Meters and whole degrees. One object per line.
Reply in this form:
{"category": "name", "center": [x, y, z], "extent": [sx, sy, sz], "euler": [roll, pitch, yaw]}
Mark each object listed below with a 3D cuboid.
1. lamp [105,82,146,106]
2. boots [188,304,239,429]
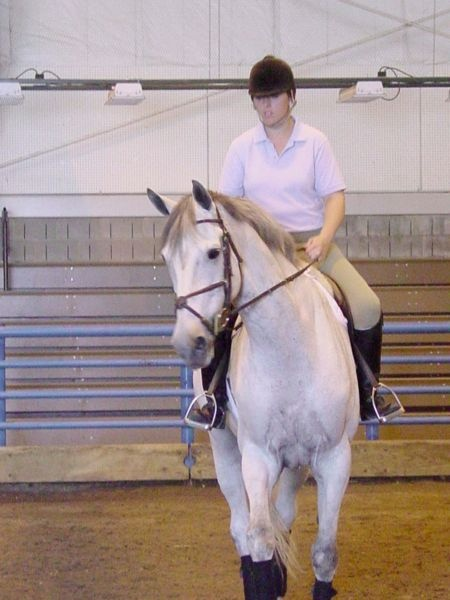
{"category": "lamp", "center": [-1.108, -2.266, 15.494], "extent": [0.420, 0.229, 0.350], "euler": [1, 5, 3]}
{"category": "boots", "center": [-0.120, 0.594, 10.413], "extent": [0.152, 0.707, 0.291], "euler": [17, 12, -13]}
